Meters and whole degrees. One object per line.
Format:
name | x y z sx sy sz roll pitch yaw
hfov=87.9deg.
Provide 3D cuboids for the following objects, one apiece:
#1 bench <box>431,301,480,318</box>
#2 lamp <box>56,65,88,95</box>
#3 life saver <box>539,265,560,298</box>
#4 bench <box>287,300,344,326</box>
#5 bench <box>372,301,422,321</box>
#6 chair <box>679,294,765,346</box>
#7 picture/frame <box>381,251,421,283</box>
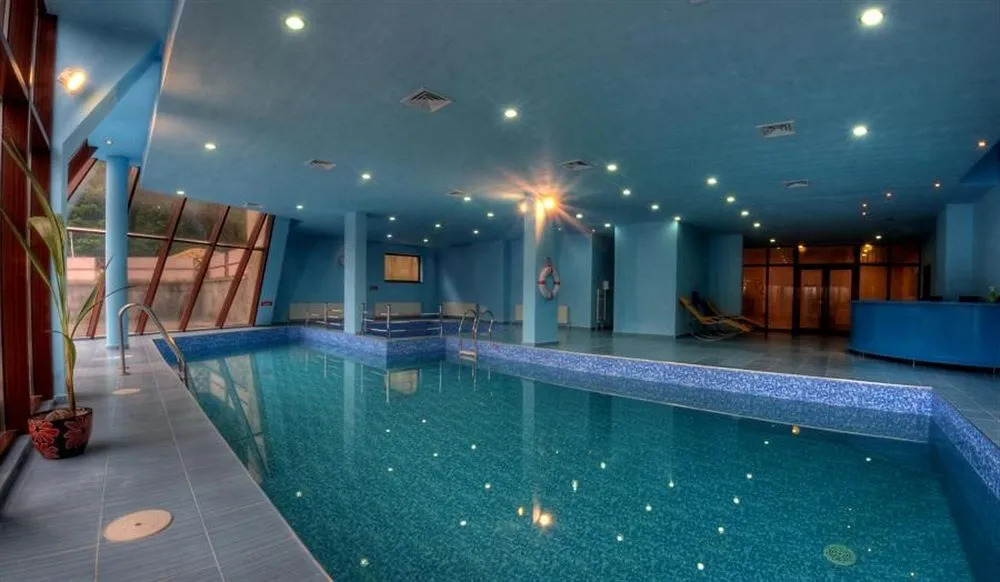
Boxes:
bench | -1.663 0.674 19.821 1.212 0.402 0.929 -3 -4 42
lamp | -5.478 -2.720 6.732 0.297 0.316 0.337 40 24 8
life saver | 1.165 -0.205 12.209 0.285 0.838 0.647 9 13 34
bench | -5.952 0.703 17.263 1.826 0.711 1.342 6 11 23
bench | -3.805 0.701 19.426 0.881 0.659 2.185 7 11 28
chair | 5.999 0.730 14.544 1.499 0.872 2.245 -4 -1 32
picture/frame | -3.801 -0.923 19.732 1.347 0.846 0.102 5 -8 -42
